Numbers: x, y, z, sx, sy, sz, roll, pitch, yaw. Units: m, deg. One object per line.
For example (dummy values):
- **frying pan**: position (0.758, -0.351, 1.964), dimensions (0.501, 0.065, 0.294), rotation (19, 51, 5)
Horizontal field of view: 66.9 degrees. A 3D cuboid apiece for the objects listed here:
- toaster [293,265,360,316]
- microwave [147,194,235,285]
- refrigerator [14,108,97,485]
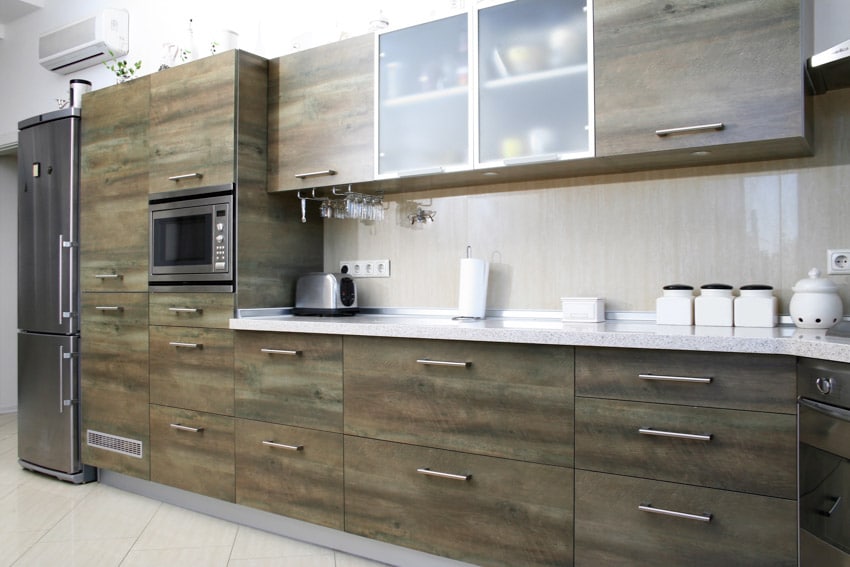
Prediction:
- **toaster**: position (-0.584, 0.057, 3.929), dimensions (0.371, 0.245, 0.253), rotation (0, 2, 28)
- **microwave**: position (-1.331, -0.251, 3.948), dimensions (0.522, 0.544, 0.453), rotation (1, 2, 27)
- **refrigerator**: position (-2.351, 0.091, 4.468), dimensions (0.695, 2.316, 0.643), rotation (0, 1, 37)
